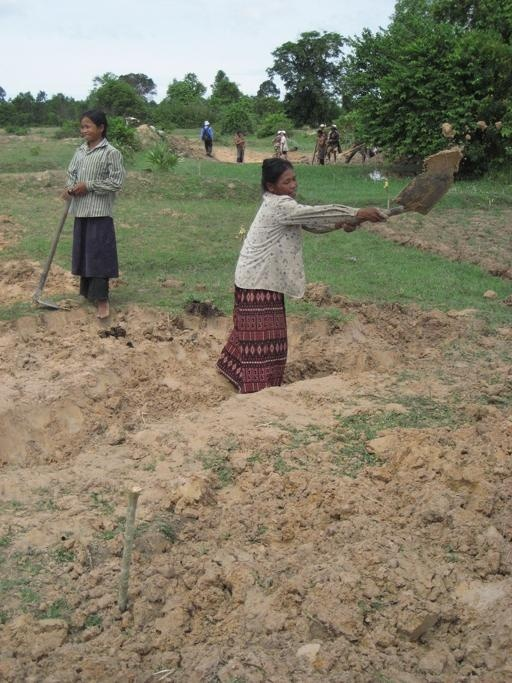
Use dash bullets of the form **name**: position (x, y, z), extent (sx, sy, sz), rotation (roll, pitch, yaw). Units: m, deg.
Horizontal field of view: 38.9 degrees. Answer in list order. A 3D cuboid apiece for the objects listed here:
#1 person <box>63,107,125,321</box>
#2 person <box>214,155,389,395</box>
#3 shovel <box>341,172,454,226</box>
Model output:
- **person**: position (-1.423, -1.079, 6.340), extent (0.492, 1.835, 0.487), rotation (1, 14, -9)
- **person**: position (0.150, -0.390, 5.171), extent (0.455, 1.786, 1.244), rotation (-5, 15, -31)
- **shovel**: position (0.929, -0.891, 4.656), extent (0.647, 0.305, 0.130), rotation (-28, 40, 2)
